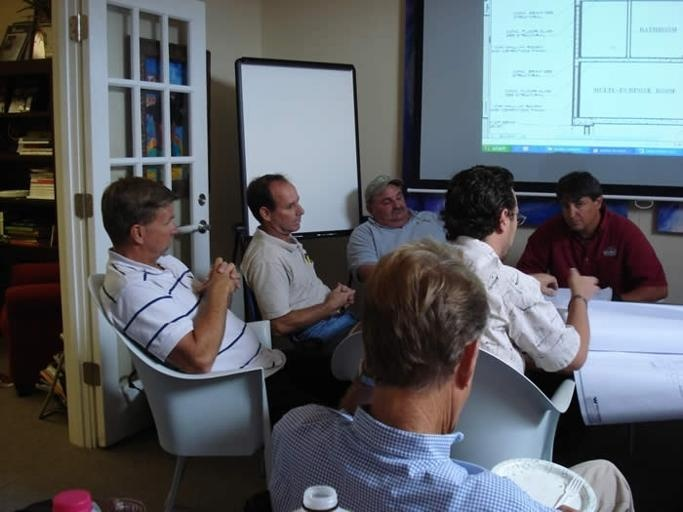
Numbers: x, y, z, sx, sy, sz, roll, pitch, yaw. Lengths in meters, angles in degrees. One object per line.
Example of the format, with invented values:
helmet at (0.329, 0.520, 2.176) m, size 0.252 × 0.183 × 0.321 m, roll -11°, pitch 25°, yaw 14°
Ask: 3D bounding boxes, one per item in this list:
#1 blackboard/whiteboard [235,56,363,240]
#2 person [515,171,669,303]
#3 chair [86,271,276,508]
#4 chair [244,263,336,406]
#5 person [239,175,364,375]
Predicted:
blackboard/whiteboard at (-0.275, -0.695, 3.584) m, size 1.028 × 1.560 × 0.097 m, roll -3°, pitch 5°, yaw -23°
person at (1.408, 0.026, 3.285) m, size 0.784 × 1.054 × 0.638 m, roll -2°, pitch 17°, yaw 27°
chair at (-0.555, 0.463, 2.528) m, size 0.678 × 1.107 × 0.780 m, roll -2°, pitch 8°, yaw -1°
chair at (-0.188, 0.447, 2.436) m, size 0.301 × 0.524 × 0.275 m, roll -4°, pitch 4°, yaw 10°
person at (-0.292, -0.003, 3.015) m, size 0.674 × 1.063 × 0.723 m, roll -5°, pitch 10°, yaw -4°
